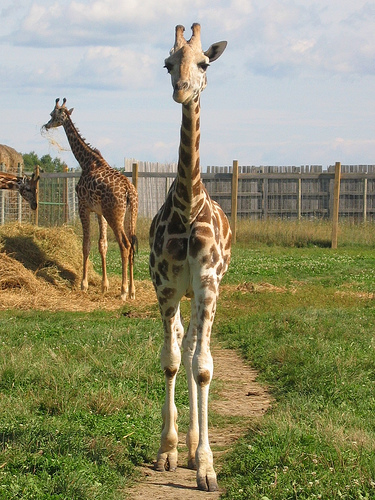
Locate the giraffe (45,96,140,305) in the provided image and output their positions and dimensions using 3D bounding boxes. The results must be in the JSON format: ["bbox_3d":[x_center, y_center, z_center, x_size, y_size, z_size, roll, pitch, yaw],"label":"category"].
[{"bbox_3d":[-1.501,-1.013,19.675,1.373,3.292,5.416,-1,8,-3],"label":"giraffe"}]

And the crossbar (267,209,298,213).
[{"bbox_3d":[2.421,-0.999,29.588,0.776,0.120,0.141,-2,8,-6],"label":"crossbar"}]

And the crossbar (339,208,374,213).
[{"bbox_3d":[4.295,-1.020,29.617,0.581,0.126,0.050,3,5,18],"label":"crossbar"}]
